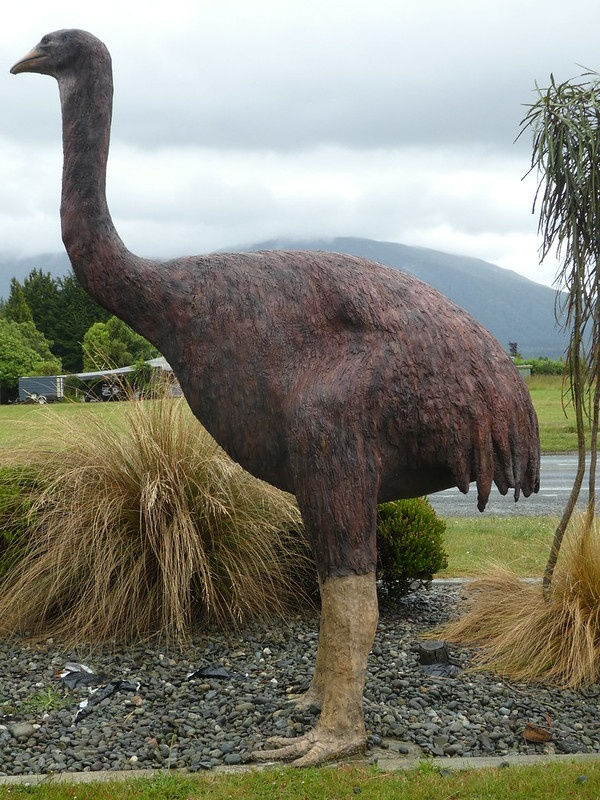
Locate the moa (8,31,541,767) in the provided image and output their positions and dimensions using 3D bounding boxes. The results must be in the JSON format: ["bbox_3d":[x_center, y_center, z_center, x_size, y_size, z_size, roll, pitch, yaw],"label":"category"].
[{"bbox_3d":[0.030,-0.108,3.445,1.893,2.402,0.673,-3,1,-13],"label":"moa"}]
